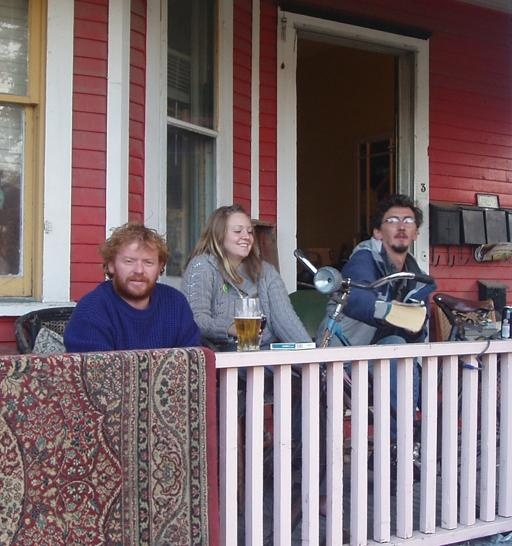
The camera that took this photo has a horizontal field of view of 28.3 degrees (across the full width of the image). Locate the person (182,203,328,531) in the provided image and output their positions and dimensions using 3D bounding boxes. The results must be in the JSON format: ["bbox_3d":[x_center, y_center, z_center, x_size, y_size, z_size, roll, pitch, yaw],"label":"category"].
[{"bbox_3d":[-0.006,0.348,4.459,0.449,1.542,0.761,2,-22,-20],"label":"person"}]

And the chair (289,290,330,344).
[{"bbox_3d":[0.313,0.249,5.668,0.183,0.311,0.227,2,8,11],"label":"chair"}]

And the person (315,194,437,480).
[{"bbox_3d":[0.637,0.296,4.799,0.411,1.311,0.622,7,-11,-10],"label":"person"}]

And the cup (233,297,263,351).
[{"bbox_3d":[-0.023,0.194,3.757,0.099,0.195,0.162,1,1,-1],"label":"cup"}]
